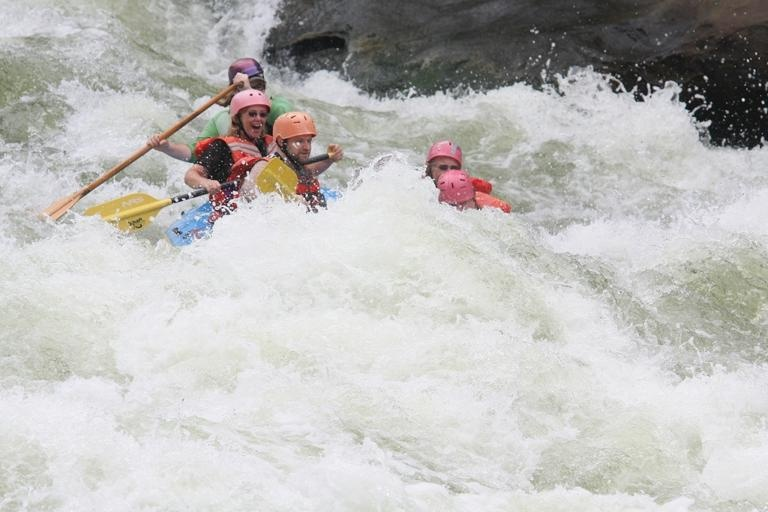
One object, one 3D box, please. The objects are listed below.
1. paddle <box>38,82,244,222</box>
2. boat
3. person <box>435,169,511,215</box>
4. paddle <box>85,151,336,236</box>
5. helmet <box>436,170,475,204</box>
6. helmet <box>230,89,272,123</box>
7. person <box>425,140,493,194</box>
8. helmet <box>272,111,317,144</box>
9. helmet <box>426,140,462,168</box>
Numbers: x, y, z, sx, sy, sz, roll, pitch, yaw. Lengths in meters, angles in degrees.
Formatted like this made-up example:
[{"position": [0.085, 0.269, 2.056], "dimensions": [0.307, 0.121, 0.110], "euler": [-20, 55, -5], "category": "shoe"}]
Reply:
[{"position": [-3.153, -1.283, 15.467], "dimensions": [3.386, 0.352, 0.134], "euler": [-31, 47, -5], "category": "paddle"}, {"position": [-1.726, -0.354, 14.714], "dimensions": [1.527, 0.251, 0.828], "euler": [-18, 35, -1], "category": "boat"}, {"position": [1.060, -0.730, 14.777], "dimensions": [0.771, 0.542, 0.341], "euler": [28, 89, -6], "category": "person"}, {"position": [-2.439, -0.785, 14.430], "dimensions": [3.049, 0.209, 0.847], "euler": [-13, 60, -23], "category": "paddle"}, {"position": [0.900, -0.854, 14.725], "dimensions": [0.381, 0.451, 0.377], "euler": [-11, 101, -4], "category": "helmet"}, {"position": [-1.647, -1.916, 15.217], "dimensions": [0.487, 0.342, 0.244], "euler": [-1, 102, 10], "category": "helmet"}, {"position": [0.850, -1.221, 15.251], "dimensions": [0.603, 0.767, 0.455], "euler": [-7, 24, 3], "category": "person"}, {"position": [-1.115, -1.621, 15.070], "dimensions": [0.489, 0.251, 0.347], "euler": [20, 23, 31], "category": "helmet"}, {"position": [0.776, -1.335, 15.421], "dimensions": [0.332, 0.386, 0.294], "euler": [11, 70, -11], "category": "helmet"}]
